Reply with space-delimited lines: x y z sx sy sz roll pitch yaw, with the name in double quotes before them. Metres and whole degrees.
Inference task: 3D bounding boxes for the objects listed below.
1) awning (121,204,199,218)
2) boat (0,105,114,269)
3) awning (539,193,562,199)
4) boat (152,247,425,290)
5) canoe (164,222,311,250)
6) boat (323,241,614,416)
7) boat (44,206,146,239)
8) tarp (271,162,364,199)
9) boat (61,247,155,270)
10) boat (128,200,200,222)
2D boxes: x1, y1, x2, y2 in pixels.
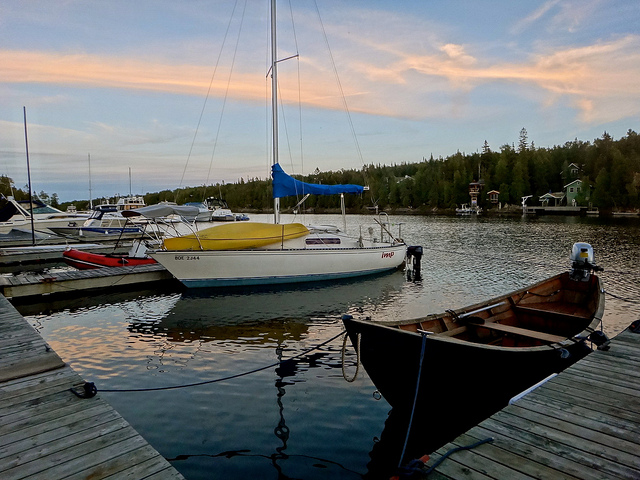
"awning" -6.905 -1.237 20.331 2.765 0.525 2.345 -6 1 -10
"boat" -15.801 -2.294 25.695 3.732 7.398 3.777 0 10 8
"awning" 42.607 -8.209 87.445 1.190 0.650 3.451 -2 8 -9
"boat" -0.462 1.140 21.706 14.380 1.543 2.994 0 -7 -39
"canoe" -3.512 -0.186 19.301 5.594 0.811 1.648 -4 12 -12
"boat" 4.837 1.846 11.386 8.825 2.049 3.546 -2 2 -42
"boat" -15.656 -1.058 34.016 3.434 1.688 7.595 10 8 32
"tarp" -0.090 -2.595 21.847 5.197 1.459 1.339 -1 -6 -39
"boat" -10.162 0.907 22.136 3.984 0.950 1.974 4 -1 -9
"boat" -5.452 -1.095 18.707 3.152 0.842 2.424 -1 4 -35
